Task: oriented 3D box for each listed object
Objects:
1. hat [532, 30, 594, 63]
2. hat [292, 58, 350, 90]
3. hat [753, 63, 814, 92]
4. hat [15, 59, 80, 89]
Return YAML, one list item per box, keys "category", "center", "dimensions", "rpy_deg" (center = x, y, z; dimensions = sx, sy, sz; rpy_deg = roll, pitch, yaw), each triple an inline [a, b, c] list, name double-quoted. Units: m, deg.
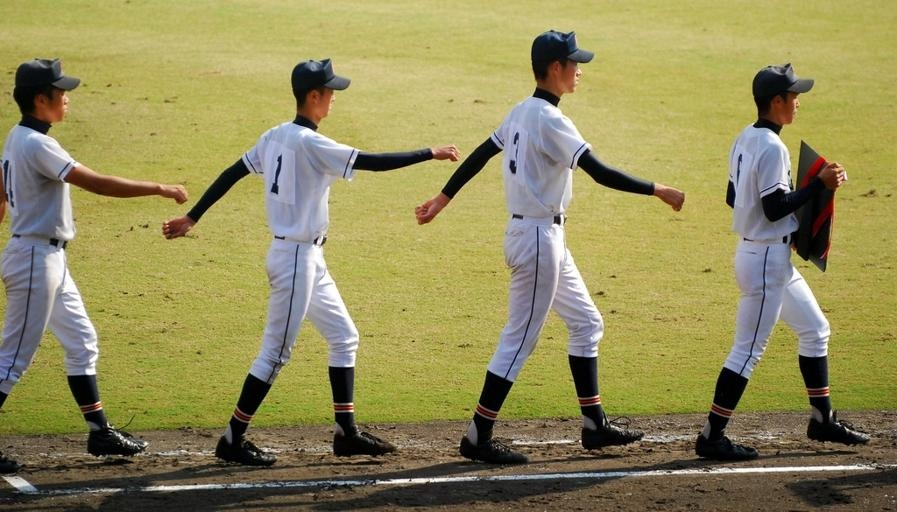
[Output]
- category: "hat"
  center: [1.376, -2.557, 18.455]
  dimensions: [0.752, 0.222, 0.399]
  rpy_deg: [-2, 16, -8]
- category: "hat"
  center: [-1.565, -2.207, 18.406]
  dimensions: [0.717, 0.217, 0.373]
  rpy_deg: [-2, 23, -12]
- category: "hat"
  center: [4.087, -2.180, 18.471]
  dimensions: [0.672, 0.194, 0.380]
  rpy_deg: [-3, 16, -4]
- category: "hat"
  center: [-4.865, -2.202, 18.332]
  dimensions: [0.712, 0.192, 0.406]
  rpy_deg: [-1, 12, -20]
